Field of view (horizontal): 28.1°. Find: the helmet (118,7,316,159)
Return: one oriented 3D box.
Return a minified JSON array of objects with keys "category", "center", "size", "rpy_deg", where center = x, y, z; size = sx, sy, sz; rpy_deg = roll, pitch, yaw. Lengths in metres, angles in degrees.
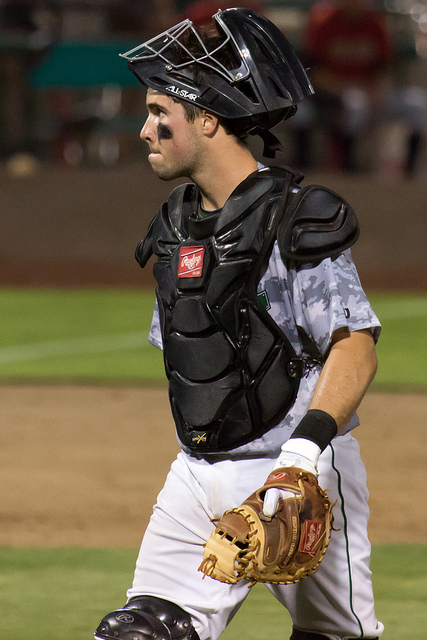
[{"category":"helmet","center":[0.015,-0.536,2.026],"size":[0.456,0.372,0.324],"rpy_deg":[-1,27,-5]}]
